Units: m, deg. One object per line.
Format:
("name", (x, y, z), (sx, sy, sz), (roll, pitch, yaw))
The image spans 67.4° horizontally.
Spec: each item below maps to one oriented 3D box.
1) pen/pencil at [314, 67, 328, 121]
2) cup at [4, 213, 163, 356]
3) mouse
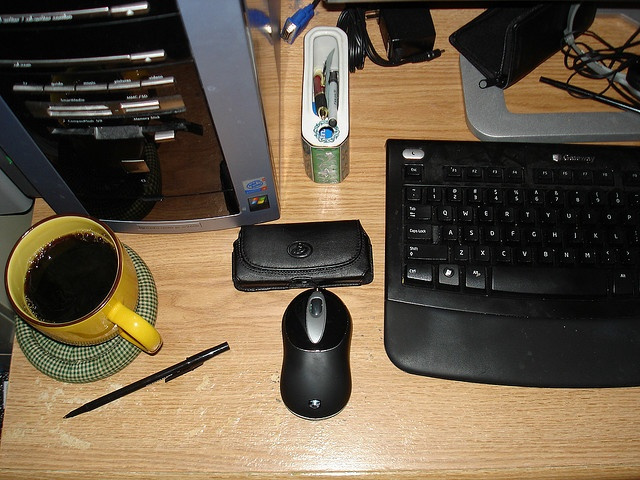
("pen/pencil", (-0.002, -0.212, 0.698), (0.017, 0.018, 0.078), (-12, 48, 9))
("cup", (-0.291, 0.058, 0.603), (0.150, 0.096, 0.111), (40, 51, 11))
("mouse", (-0.007, 0.145, 0.604), (0.088, 0.046, 0.159), (2, 79, -1))
